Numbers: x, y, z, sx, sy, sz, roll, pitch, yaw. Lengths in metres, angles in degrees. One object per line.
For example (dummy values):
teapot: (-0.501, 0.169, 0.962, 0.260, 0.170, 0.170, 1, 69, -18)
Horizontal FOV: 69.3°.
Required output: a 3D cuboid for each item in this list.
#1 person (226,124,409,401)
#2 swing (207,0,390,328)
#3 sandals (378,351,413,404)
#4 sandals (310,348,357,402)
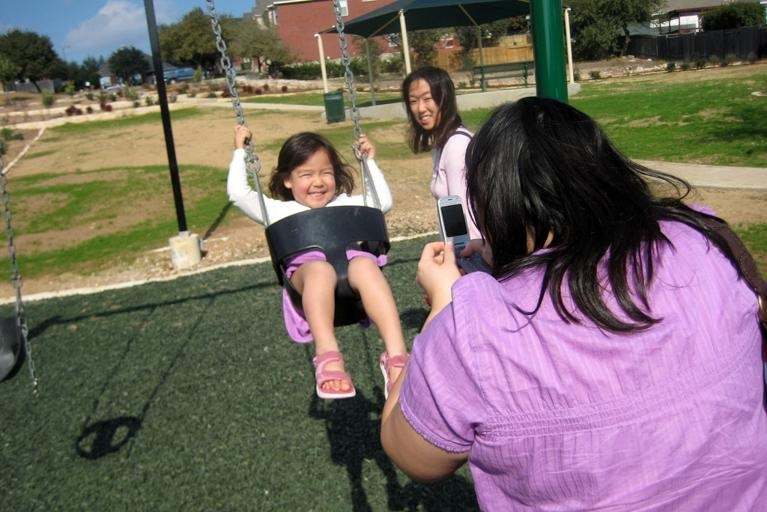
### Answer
person: (-0.312, 0.020, 2.543, 0.665, 0.514, 1.806, -3, 60, -13)
swing: (-0.340, -0.236, 2.829, 0.706, 2.045, 1.188, -11, 21, -16)
sandals: (0.033, 0.429, 2.036, 0.087, 0.269, 0.098, -5, -21, 9)
sandals: (-0.199, 0.503, 2.186, 0.134, 0.223, 0.194, -9, 21, -9)
